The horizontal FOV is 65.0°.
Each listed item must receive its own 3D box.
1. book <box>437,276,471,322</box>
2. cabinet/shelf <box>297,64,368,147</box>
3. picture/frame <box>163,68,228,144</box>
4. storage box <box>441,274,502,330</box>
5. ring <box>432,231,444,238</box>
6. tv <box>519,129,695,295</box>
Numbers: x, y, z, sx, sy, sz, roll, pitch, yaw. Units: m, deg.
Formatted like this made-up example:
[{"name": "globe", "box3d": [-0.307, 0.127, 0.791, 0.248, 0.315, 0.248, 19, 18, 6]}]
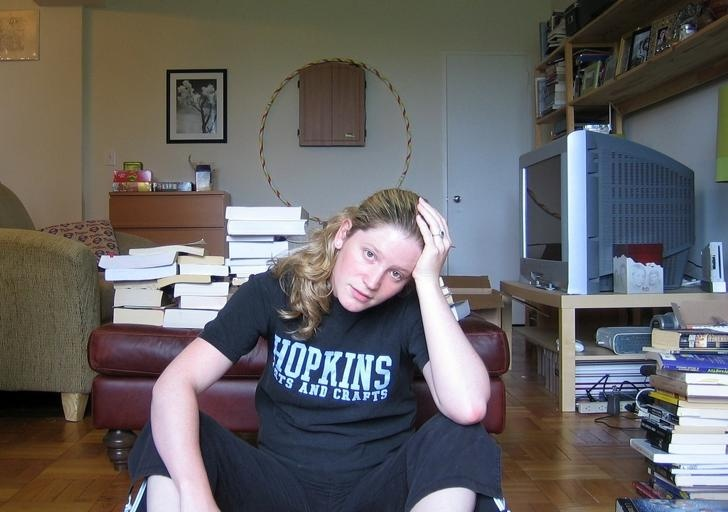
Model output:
[{"name": "book", "box3d": [0.395, 0.187, 2.470, 0.094, 0.173, 0.108, -19, 35, 8]}, {"name": "cabinet/shelf", "box3d": [-0.282, -1.338, 5.048, 0.720, 0.799, 0.306, 0, 3, -1]}, {"name": "picture/frame", "box3d": [-1.529, -1.382, 5.202, 0.709, 0.822, 0.042, 0, 0, -3]}, {"name": "storage box", "box3d": [0.602, 0.241, 3.186, 0.298, 0.204, 0.311, -1, 2, -2]}, {"name": "ring", "box3d": [0.235, -0.069, 1.787, 0.027, 0.016, 0.020, 3, 3, 36]}, {"name": "tv", "box3d": [1.402, -0.251, 3.580, 0.893, 1.022, 1.148, 0, -1, 2]}]
